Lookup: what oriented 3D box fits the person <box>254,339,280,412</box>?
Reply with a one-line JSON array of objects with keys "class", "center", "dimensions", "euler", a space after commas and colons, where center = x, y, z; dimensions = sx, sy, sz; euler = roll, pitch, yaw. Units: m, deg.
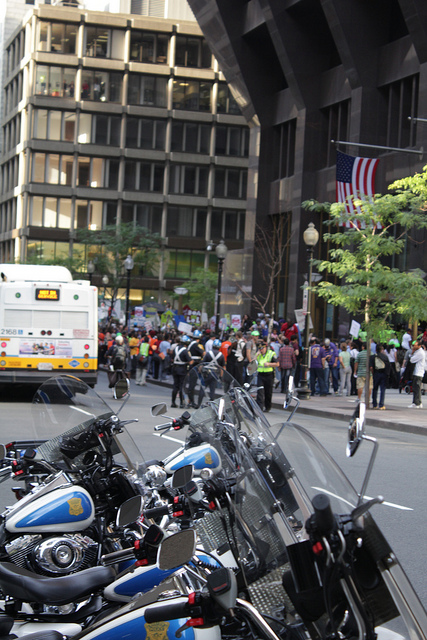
[{"class": "person", "center": [1.426, 1.505, 18.037], "dimensions": [0.768, 1.996, 0.643], "euler": [1, -8, 20]}]

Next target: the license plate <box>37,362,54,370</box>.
[{"class": "license plate", "center": [-4.637, 1.245, 18.178], "dimensions": [0.408, 0.196, 0.047], "euler": [1, 2, -30]}]

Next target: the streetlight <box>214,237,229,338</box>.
[{"class": "streetlight", "center": [0.247, -1.253, 27.488], "dimensions": [0.702, 4.435, 0.657], "euler": [3, -5, 7]}]

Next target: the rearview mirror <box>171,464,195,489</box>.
[{"class": "rearview mirror", "center": [-0.123, 0.671, 2.844], "dimensions": [0.098, 0.101, 0.030], "euler": [-18, -45, 44]}]

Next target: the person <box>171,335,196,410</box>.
[{"class": "person", "center": [-0.891, 1.518, 19.629], "dimensions": [0.849, 2.172, 0.659], "euler": [2, -2, 40]}]

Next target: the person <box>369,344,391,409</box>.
[{"class": "person", "center": [5.048, 1.678, 19.909], "dimensions": [0.584, 1.410, 1.660], "euler": [2, 2, 14]}]
